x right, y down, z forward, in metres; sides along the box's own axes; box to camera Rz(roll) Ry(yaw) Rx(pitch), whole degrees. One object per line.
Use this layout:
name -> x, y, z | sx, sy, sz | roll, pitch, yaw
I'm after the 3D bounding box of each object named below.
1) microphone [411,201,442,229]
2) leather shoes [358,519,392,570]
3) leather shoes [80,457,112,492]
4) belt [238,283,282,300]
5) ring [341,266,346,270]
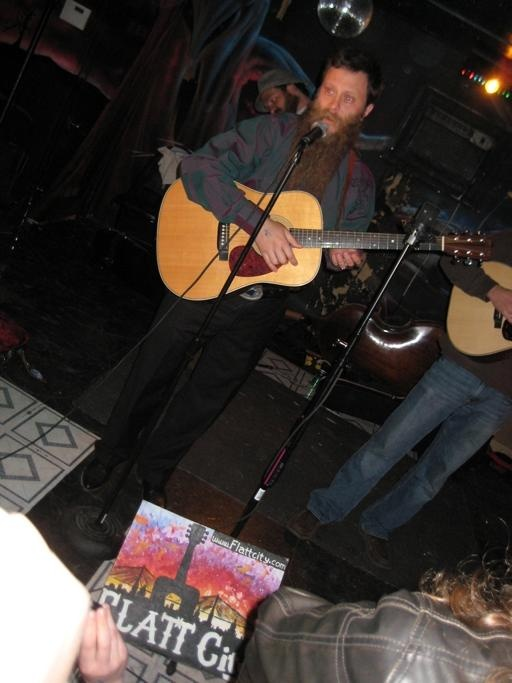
microphone -> 0.488, -0.362, 1.510 | 0.101, 0.070, 0.023 | 7, 16, 6
leather shoes -> 0.530, 0.914, 2.384 | 0.077, 0.084, 0.189 | 9, 50, -33
leather shoes -> -0.615, 0.507, 2.079 | 0.090, 0.033, 0.161 | 38, 40, -3
belt -> 0.017, -0.190, 2.033 | 0.157, 0.059, 0.023 | -5, 4, -9
ring -> 0.374, -0.309, 2.269 | 0.018, 0.009, 0.003 | -3, -24, 38
